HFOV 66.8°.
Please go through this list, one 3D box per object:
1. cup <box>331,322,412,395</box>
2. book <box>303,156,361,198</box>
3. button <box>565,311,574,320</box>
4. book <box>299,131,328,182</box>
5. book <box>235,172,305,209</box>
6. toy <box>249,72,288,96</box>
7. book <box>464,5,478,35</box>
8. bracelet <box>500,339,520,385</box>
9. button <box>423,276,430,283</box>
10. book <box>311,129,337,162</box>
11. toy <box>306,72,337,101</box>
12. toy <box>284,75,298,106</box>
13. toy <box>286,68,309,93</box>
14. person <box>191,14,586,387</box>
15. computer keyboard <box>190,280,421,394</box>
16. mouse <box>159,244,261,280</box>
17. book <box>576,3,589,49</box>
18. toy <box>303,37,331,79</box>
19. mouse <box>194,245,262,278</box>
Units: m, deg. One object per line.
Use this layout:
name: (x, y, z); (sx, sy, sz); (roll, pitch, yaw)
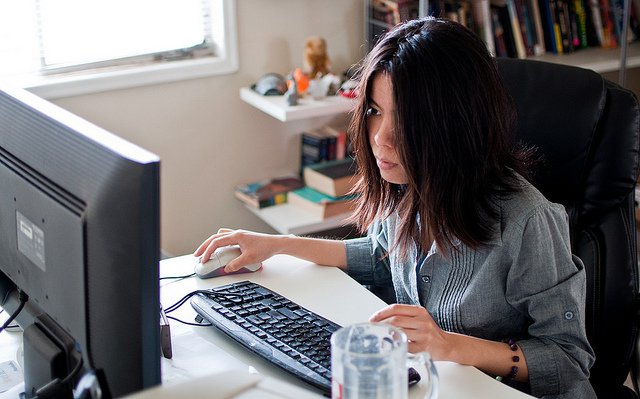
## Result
cup: (0.076, 0.252, 0.813); (0.141, 0.133, 0.081); (1, 6, 2)
book: (0.065, -0.154, 2.464); (0.246, 0.061, 0.238); (-9, 20, -20)
button: (0.597, 0.276, 1.162); (0.021, 0.020, 0.005); (-6, 21, 2)
book: (-0.026, -0.240, 2.627); (0.099, 0.238, 0.263); (3, 9, -5)
book: (-0.249, -0.054, 2.580); (0.228, 0.051, 0.223); (-14, 23, -34)
toy: (-0.249, -0.557, 2.366); (0.128, 0.043, 0.128); (11, 24, 27)
book: (0.728, -0.875, 2.365); (0.052, 0.130, 0.077); (9, 26, 36)
bracelet: (0.441, 0.388, 1.135); (0.022, 0.072, 0.091); (0, -4, -12)
button: (0.298, 0.223, 1.359); (0.017, 0.016, 0.004); (-18, 1, 27)
book: (0.056, -0.298, 2.651); (0.184, 0.133, 0.188); (-5, 19, -4)
toy: (0.010, -0.568, 2.446); (0.092, 0.104, 0.195); (9, 26, 37)
toy: (-0.141, -0.524, 2.323); (0.067, 0.120, 0.207); (-8, 20, -1)
toy: (-0.103, -0.575, 2.390); (0.099, 0.128, 0.046); (-25, -17, 13)
person: (0.384, -0.135, 1.991); (1.171, 1.728, 0.913); (-10, 14, -25)
computer keyboard: (-0.113, 0.314, 1.224); (0.490, 0.090, 0.191); (10, 26, 38)
mouse: (-0.320, 0.166, 1.440); (0.271, 0.066, 0.113); (-1, 6, -22)
book: (1.145, -0.757, 2.115); (0.025, 0.184, 0.075); (-9, 21, -3)
toy: (-0.019, -0.744, 2.546); (0.157, 0.235, 0.147); (-14, 37, -9)
mouse: (-0.278, 0.182, 1.445); (0.161, 0.055, 0.090); (1, 4, -17)
